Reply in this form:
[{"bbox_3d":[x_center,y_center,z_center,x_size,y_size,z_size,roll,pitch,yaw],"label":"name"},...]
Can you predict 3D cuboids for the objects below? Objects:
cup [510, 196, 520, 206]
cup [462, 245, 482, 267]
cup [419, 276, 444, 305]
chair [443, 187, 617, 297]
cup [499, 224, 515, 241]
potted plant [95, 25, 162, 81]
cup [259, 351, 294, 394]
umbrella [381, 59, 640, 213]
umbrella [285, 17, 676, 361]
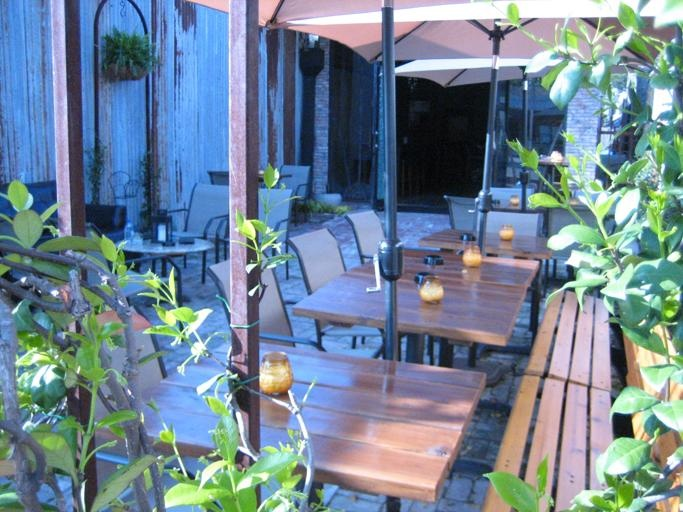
[{"bbox_3d":[1.904,-0.622,6.356,0.109,0.120,0.118,-3,13,1],"label":"cup"},{"bbox_3d":[0.786,-0.007,3.523,0.112,0.124,0.116,-2,3,0],"label":"cup"},{"bbox_3d":[0.423,0.157,2.763,0.109,0.121,0.116,-2,3,0],"label":"cup"},{"bbox_3d":[1.016,-0.080,3.377,0.887,0.524,0.720,9,19,21],"label":"chair"},{"bbox_3d":[1.282,-0.191,4.496,0.111,0.123,0.120,-1,5,0],"label":"cup"},{"bbox_3d":[-2.761,-2.713,7.961,0.543,0.446,0.568,-10,13,-41],"label":"potted plant"},{"bbox_3d":[-0.203,0.359,1.838,0.123,0.137,0.132,0,4,0],"label":"cup"},{"bbox_3d":[3.546,-3.727,17.281,4.969,3.508,5.030,-1,5,-6],"label":"umbrella"},{"bbox_3d":[0.725,-0.273,4.561,2.419,2.613,2.805,-2,13,-1],"label":"umbrella"}]
